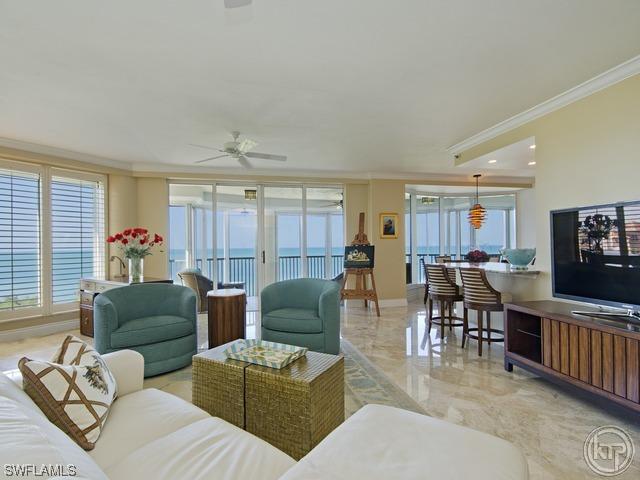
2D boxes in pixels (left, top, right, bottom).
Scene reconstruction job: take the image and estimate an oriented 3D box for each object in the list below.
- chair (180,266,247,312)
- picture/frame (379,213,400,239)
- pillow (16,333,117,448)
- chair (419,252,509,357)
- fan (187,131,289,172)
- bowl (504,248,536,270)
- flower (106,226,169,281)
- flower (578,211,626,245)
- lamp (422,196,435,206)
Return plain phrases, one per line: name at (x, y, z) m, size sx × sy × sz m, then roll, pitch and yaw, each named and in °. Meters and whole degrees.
chair at (-1.808, 0.782, 7.168) m, size 0.975 × 0.671 × 0.610 m, roll -2°, pitch 1°, yaw -40°
picture/frame at (1.241, -0.262, 7.979) m, size 0.522 × 0.629 × 0.046 m, roll 1°, pitch 0°, yaw -13°
pillow at (-1.593, 0.966, 2.795) m, size 0.368 × 0.244 × 0.689 m, roll 19°, pitch -1°, yaw -22°
chair at (1.856, 0.793, 5.582) m, size 0.760 × 1.086 × 1.370 m, roll -2°, pitch 11°, yaw -7°
fan at (-1.015, -1.122, 5.566) m, size 0.664 × 0.246 × 0.706 m, roll -1°, pitch -3°, yaw 25°
bowl at (2.264, 0.223, 5.032) m, size 0.296 × 0.159 × 0.284 m, roll 0°, pitch -5°, yaw 0°
flower at (-2.400, 0.191, 5.763) m, size 0.718 × 0.626 × 0.601 m, roll -7°, pitch -8°, yaw 23°
flower at (2.617, -0.101, 4.086) m, size 0.267 × 0.278 × 0.280 m, roll -6°, pitch -6°, yaw 44°
lamp at (2.317, -0.841, 9.338) m, size 0.215 × 0.118 × 0.207 m, roll 2°, pitch 3°, yaw 9°
